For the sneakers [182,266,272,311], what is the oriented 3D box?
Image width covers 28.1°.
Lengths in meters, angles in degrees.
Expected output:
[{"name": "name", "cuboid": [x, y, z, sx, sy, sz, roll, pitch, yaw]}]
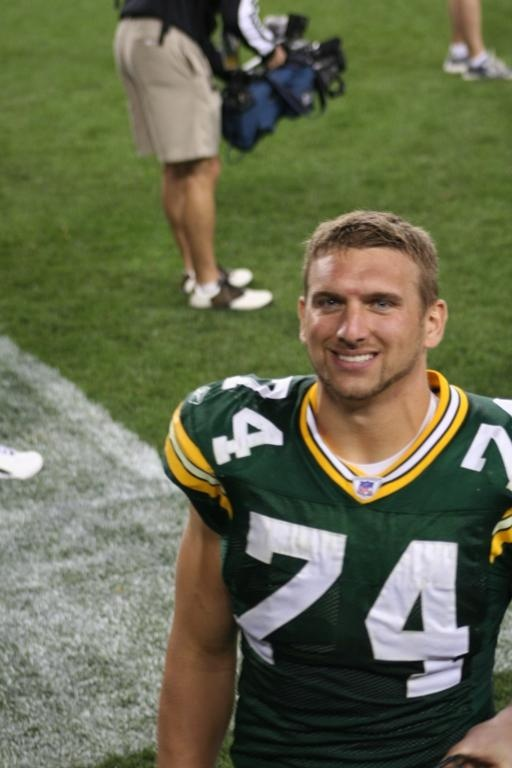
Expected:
[{"name": "sneakers", "cuboid": [-0.093, -0.340, 3.799, 0.252, 0.086, 0.163, -7, 58, -1]}]
